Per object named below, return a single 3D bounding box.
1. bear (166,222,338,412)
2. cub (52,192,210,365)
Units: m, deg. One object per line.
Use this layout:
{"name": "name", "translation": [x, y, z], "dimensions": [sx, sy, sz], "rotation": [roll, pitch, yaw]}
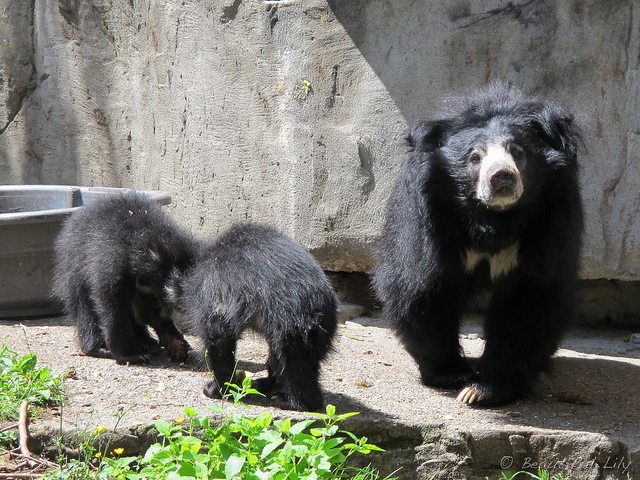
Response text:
{"name": "bear", "translation": [-0.437, 0.456, 6.073], "dimensions": [1.039, 1.071, 0.454], "rotation": [3, 7, 24]}
{"name": "cub", "translation": [-1.276, 0.303, 6.806], "dimensions": [1.483, 1.014, 0.691], "rotation": [10, 19, 36]}
